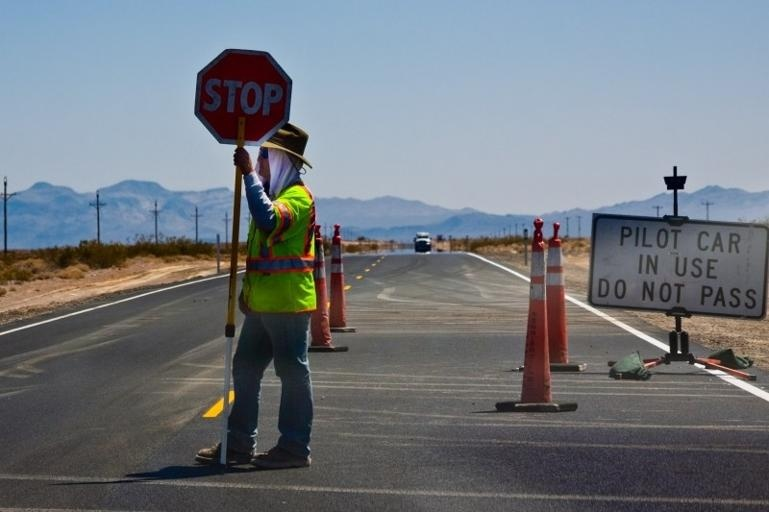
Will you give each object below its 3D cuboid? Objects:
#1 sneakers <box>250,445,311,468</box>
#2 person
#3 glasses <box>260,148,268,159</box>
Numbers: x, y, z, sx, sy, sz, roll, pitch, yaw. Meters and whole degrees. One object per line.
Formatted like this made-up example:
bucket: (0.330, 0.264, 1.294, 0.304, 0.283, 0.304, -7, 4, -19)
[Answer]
sneakers: (-1.060, 2.073, 8.140, 0.605, 0.304, 0.231, 4, -3, 3)
person: (-1.151, 0.382, 7.954, 0.938, 3.550, 0.699, -1, 3, -12)
glasses: (-1.256, -1.090, 8.192, 0.089, 0.089, 0.093, 1, 4, 12)
